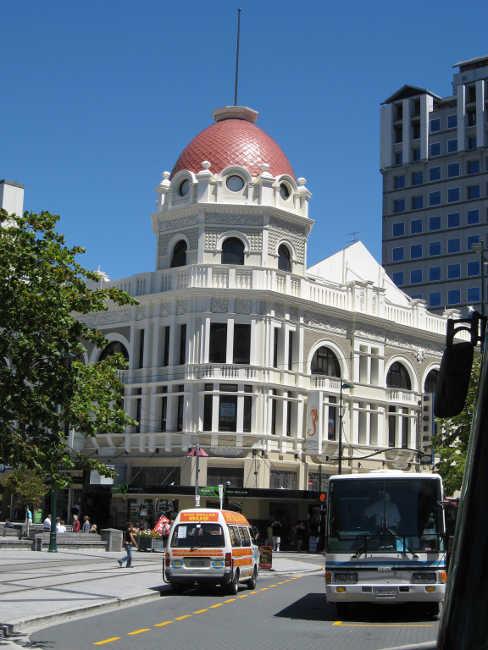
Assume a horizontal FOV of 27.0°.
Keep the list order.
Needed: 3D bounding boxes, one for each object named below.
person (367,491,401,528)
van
[{"bbox_3d":[2.547,3.394,18.366,0.808,0.728,0.421,0,-16,14],"label":"person"},{"bbox_3d":[-0.665,5.197,23.764,1.487,1.448,2.929,-2,-6,18],"label":"van"}]
